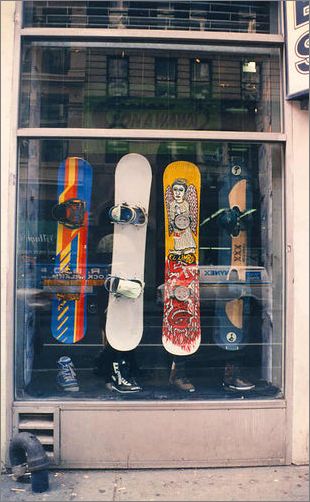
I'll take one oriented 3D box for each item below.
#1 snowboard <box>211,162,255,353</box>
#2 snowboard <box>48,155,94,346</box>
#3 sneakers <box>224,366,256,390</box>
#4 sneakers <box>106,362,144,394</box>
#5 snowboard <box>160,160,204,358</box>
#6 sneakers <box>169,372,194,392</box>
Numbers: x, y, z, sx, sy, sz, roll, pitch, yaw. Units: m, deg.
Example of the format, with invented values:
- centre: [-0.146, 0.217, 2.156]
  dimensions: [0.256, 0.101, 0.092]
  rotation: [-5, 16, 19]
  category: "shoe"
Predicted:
- centre: [0.576, -0.019, 6.226]
  dimensions: [0.225, 1.451, 0.198]
  rotation: [1, 9, 3]
  category: "snowboard"
- centre: [-0.575, -0.018, 6.117]
  dimensions: [0.252, 1.425, 0.194]
  rotation: [0, 1, -9]
  category: "snowboard"
- centre: [0.613, 0.896, 6.145]
  dimensions: [0.264, 0.203, 0.097]
  rotation: [-3, -10, 30]
  category: "sneakers"
- centre: [-0.178, 0.874, 6.040]
  dimensions: [0.295, 0.247, 0.114]
  rotation: [3, -8, 32]
  category: "sneakers"
- centre: [0.195, 0.042, 6.067]
  dimensions: [0.286, 1.326, 0.173]
  rotation: [0, 6, -5]
  category: "snowboard"
- centre: [0.193, 0.904, 6.079]
  dimensions: [0.204, 0.130, 0.102]
  rotation: [2, 1, 38]
  category: "sneakers"
